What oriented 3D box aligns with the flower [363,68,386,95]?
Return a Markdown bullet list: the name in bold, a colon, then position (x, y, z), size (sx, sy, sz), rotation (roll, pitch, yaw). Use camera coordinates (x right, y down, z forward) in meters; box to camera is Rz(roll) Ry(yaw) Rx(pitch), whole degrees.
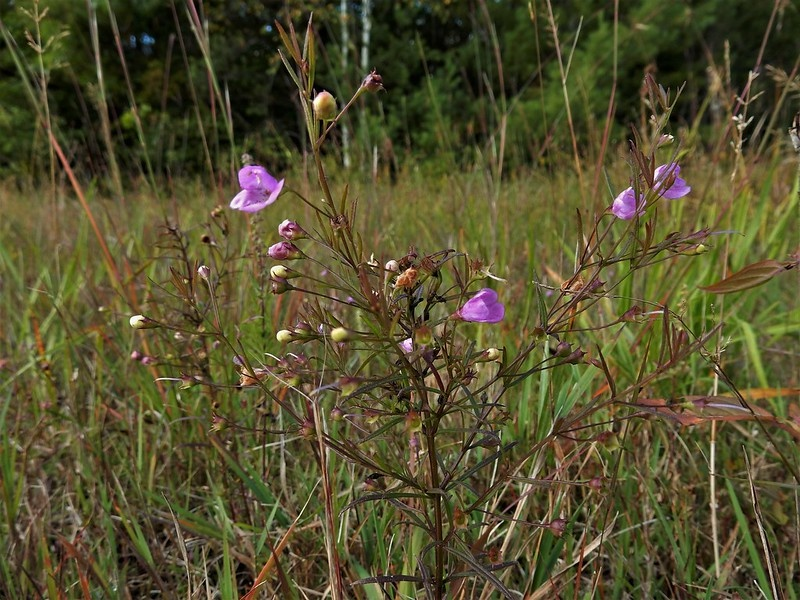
- **flower**: position (-0.081, -0.725, 2.438), size (0.081, 0.080, 0.044), rotation (-7, 3, -33)
